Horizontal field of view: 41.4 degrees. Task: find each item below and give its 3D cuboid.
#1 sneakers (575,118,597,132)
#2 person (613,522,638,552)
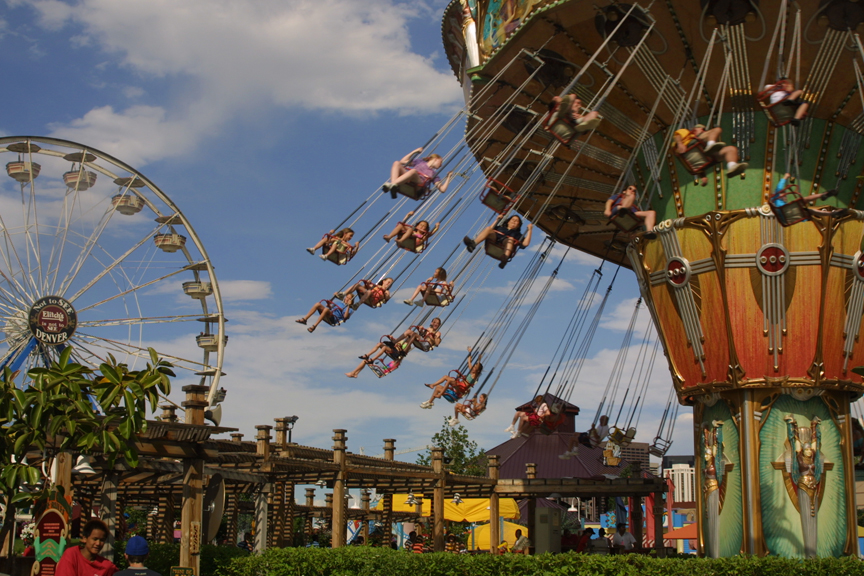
[{"bbox_3d":[3.523,-3.610,25.573,0.603,0.168,0.228,-4,15,18],"label":"sneakers"},{"bbox_3d":[5.417,7.046,32.553,0.668,0.883,1.534,-2,-18,8],"label":"person"}]
